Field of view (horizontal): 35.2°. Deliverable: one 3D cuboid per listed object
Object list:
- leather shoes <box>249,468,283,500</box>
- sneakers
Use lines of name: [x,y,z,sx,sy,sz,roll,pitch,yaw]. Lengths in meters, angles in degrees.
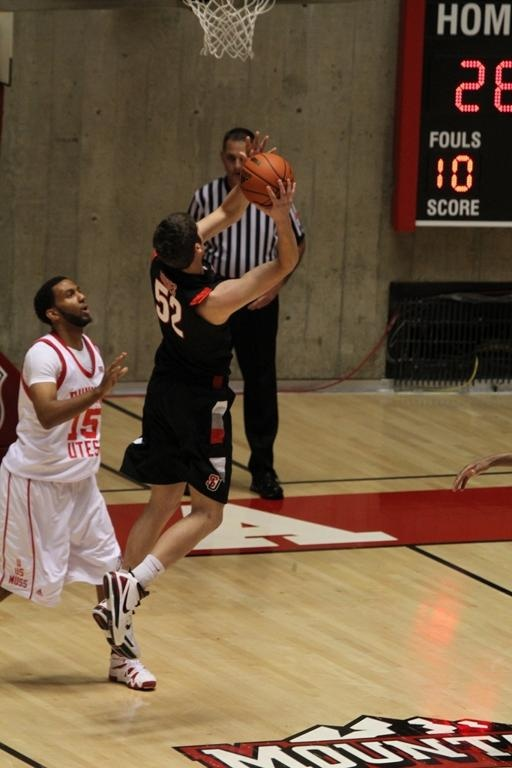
leather shoes: [0.061,0.559,4.548,0.092,0.101,0.246,-1,3,-22]
sneakers: [-0.347,0.655,2.159,0.162,0.392,0.270,1,5,-7]
